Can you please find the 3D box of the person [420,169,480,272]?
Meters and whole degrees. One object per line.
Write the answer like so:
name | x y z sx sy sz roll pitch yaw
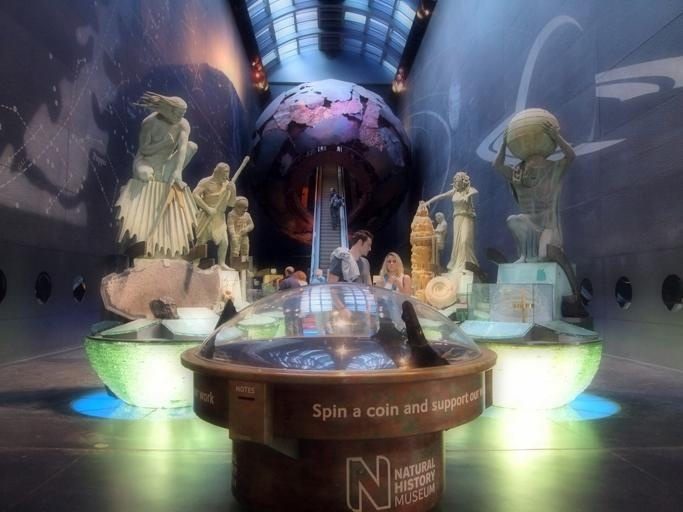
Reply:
person | 2.760 -0.811 10.584 1.141 2.466 0.763 1 4 40

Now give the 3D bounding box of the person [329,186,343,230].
person | -0.222 -2.102 19.762 0.535 1.765 1.072 0 -2 0

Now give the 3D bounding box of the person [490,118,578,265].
person | 3.019 -0.984 6.655 1.067 2.122 0.605 -1 -2 32
